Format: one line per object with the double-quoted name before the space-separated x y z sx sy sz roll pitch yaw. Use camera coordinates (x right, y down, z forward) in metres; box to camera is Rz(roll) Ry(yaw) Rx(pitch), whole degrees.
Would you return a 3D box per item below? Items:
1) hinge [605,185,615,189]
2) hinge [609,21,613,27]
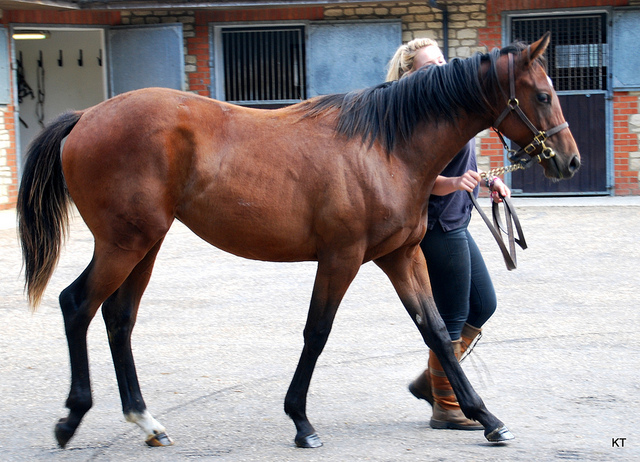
"hinge" 5.224 -0.797 16.723 0.151 0.071 0.051 0 14 9
"hinge" 5.112 -3.670 16.342 0.022 0.076 0.060 10 -3 30
